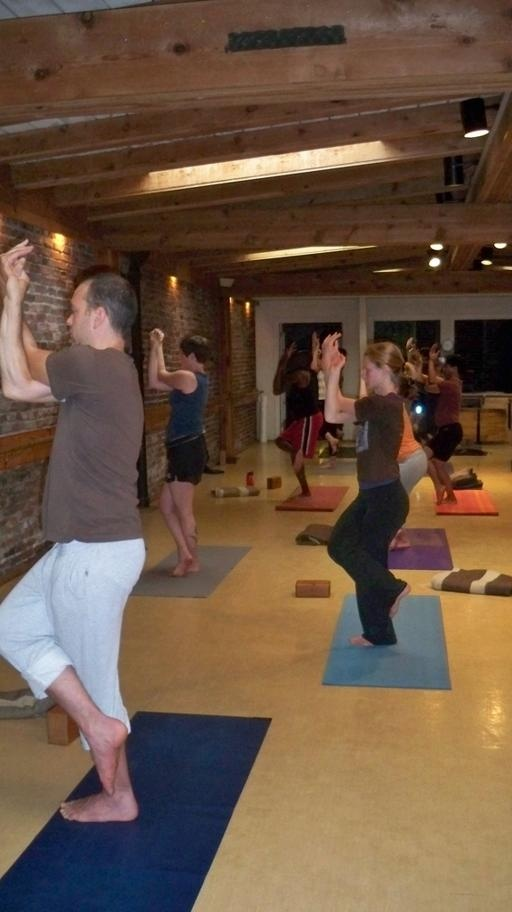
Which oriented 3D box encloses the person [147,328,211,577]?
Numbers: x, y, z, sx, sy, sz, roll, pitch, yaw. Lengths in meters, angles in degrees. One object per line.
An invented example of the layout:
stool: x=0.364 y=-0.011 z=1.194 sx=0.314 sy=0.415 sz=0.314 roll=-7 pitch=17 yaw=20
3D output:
person: x=-0.594 y=-0.016 z=5.023 sx=0.439 sy=1.706 sz=1.357 roll=-2 pitch=0 yaw=-5

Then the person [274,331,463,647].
person: x=0.589 y=0.227 z=3.460 sx=0.425 sy=1.670 sz=0.765 roll=-2 pitch=-1 yaw=30

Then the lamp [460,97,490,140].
lamp: x=1.677 y=-2.621 z=4.815 sx=0.166 sy=0.311 sz=0.169 roll=-2 pitch=0 yaw=23

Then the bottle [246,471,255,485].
bottle: x=-0.103 y=0.337 z=9.549 sx=0.100 sy=0.195 sz=0.348 roll=-2 pitch=0 yaw=-8
